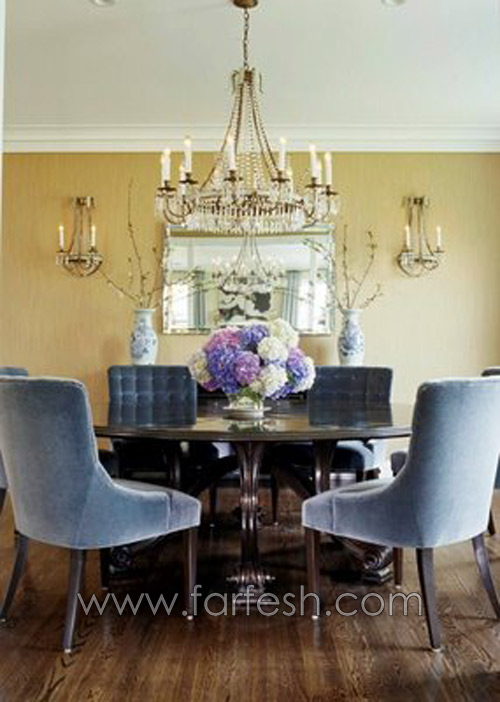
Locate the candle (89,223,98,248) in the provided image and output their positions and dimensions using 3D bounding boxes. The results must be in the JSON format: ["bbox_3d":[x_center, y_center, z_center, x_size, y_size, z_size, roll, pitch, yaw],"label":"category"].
[{"bbox_3d":[-1.114,-0.826,4.643,0.040,0.181,0.146,0,0,-15],"label":"candle"}]

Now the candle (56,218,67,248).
[{"bbox_3d":[-1.346,-0.826,4.646,0.052,0.217,0.219,0,0,-17],"label":"candle"}]

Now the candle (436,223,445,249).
[{"bbox_3d":[1.336,-0.806,4.625,0.039,0.190,0.186,0,0,16],"label":"candle"}]

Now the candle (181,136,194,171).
[{"bbox_3d":[-0.245,-0.766,2.547,0.023,0.149,0.083,0,0,-14],"label":"candle"}]

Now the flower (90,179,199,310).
[{"bbox_3d":[-0.698,-0.805,4.977,0.797,1.172,0.854,5,10,18],"label":"flower"}]

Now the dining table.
[{"bbox_3d":[-0.002,0.596,2.402,1.015,0.651,1.000,2,-5,-15],"label":"dining table"}]

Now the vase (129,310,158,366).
[{"bbox_3d":[-0.723,-0.101,4.409,0.177,0.379,0.161,0,0,10],"label":"vase"}]

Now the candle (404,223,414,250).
[{"bbox_3d":[1.124,-0.823,4.667,0.050,0.227,0.070,0,0,44],"label":"candle"}]

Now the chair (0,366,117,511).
[{"bbox_3d":[-0.848,0.354,2.936,0.624,0.780,0.556,2,-2,-27],"label":"chair"}]

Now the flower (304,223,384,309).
[{"bbox_3d":[0.703,-0.563,4.741,0.582,0.677,0.552,2,0,33],"label":"flower"}]
